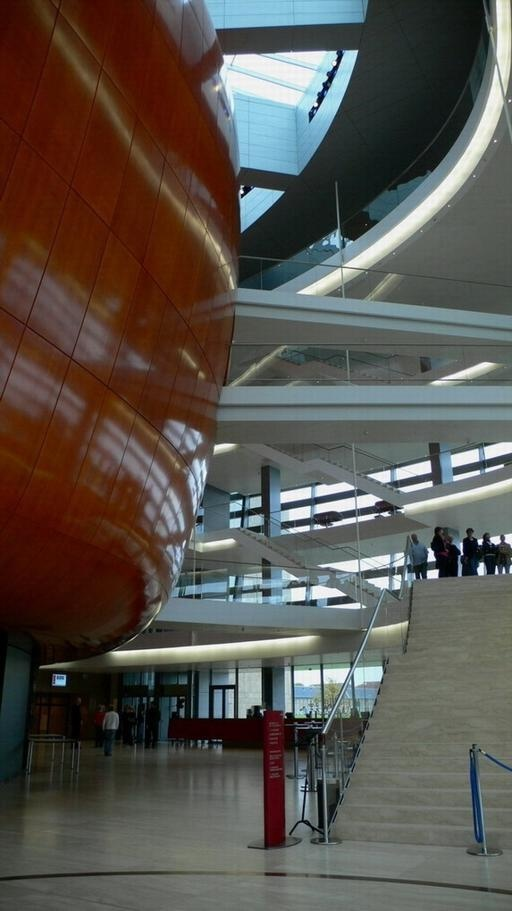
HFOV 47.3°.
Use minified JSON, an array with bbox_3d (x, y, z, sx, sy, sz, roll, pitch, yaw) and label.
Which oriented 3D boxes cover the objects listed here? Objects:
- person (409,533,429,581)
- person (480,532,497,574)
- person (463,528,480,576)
[{"bbox_3d":[4.402,2.840,16.012,0.387,1.078,1.697,-5,2,16],"label":"person"},{"bbox_3d":[6.443,2.896,16.276,0.427,1.044,2.211,-5,2,20],"label":"person"},{"bbox_3d":[5.711,2.596,15.735,0.478,1.118,1.450,-5,2,20],"label":"person"}]
